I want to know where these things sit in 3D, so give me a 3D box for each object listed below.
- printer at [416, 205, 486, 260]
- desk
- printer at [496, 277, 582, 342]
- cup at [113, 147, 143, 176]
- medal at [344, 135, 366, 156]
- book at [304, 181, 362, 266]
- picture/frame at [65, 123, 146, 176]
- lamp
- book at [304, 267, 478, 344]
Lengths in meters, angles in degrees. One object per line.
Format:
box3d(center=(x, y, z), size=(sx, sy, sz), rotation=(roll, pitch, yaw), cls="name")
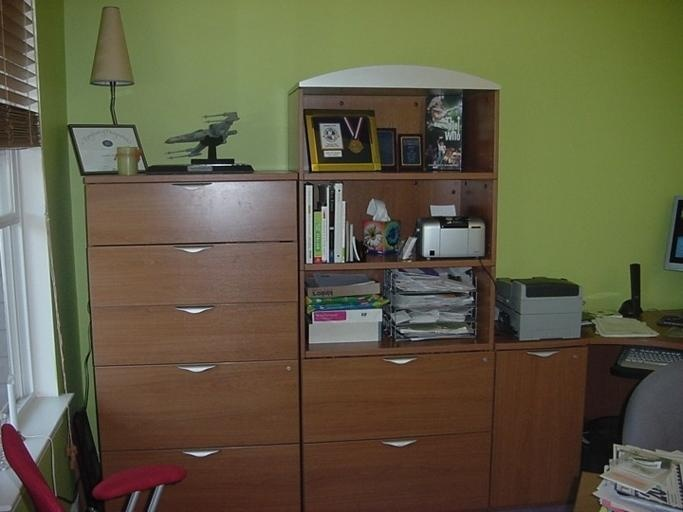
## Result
box3d(center=(0.689, -0.105, 3.291), size=(0.378, 0.259, 0.268), rotation=(1, -2, 42), cls="printer")
box3d(center=(1.220, 0.737, 3.065), size=(1.231, 0.833, 0.671), rotation=(-1, 2, -10), cls="desk")
box3d(center=(1.098, 0.289, 3.458), size=(0.330, 0.300, 0.437), rotation=(-1, 10, -7), cls="printer")
box3d(center=(-1.038, -0.474, 3.020), size=(0.147, 0.133, 0.124), rotation=(-2, 5, -45), cls="cup")
box3d(center=(0.068, -0.574, 3.160), size=(0.121, 0.099, 0.016), rotation=(-4, -5, -12), cls="medal")
box3d(center=(-0.108, -0.166, 3.112), size=(0.391, 0.496, 0.382), rotation=(-1, 4, -10), cls="book")
box3d(center=(-1.192, -0.541, 3.058), size=(0.339, 0.260, 0.032), rotation=(-9, -10, -22), cls="picture/frame")
box3d(center=(-1.205, -1.015, 3.182), size=(0.219, 0.619, 0.287), rotation=(-5, 11, -18), cls="lamp")
box3d(center=(0.295, 0.281, 3.285), size=(0.865, 0.366, 0.442), rotation=(-1, 1, -6), cls="book")
